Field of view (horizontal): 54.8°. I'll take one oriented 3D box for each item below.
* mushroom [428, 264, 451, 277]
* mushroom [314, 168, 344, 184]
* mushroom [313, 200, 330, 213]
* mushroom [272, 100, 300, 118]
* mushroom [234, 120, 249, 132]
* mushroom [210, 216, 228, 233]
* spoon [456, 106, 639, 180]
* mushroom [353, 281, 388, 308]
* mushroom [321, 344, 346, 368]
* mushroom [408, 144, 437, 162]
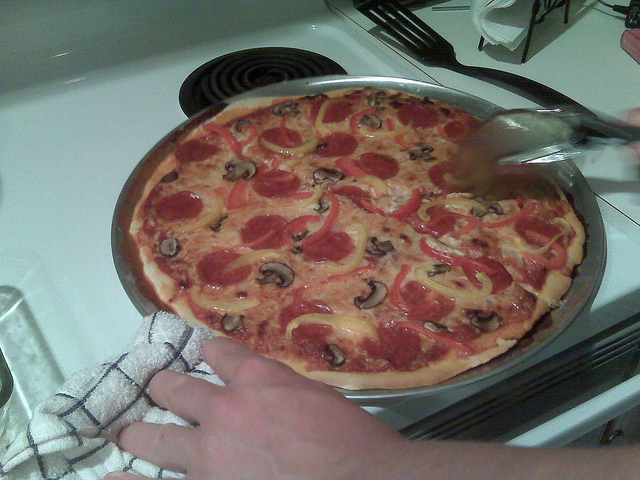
[{"bbox_3d":[0.270,0.066,1.383,0.042,0.012,0.026,-2,39,5],"label":"mushroom"},{"bbox_3d":[0.019,-0.166,1.585,0.063,0.013,0.040,-10,42,-5],"label":"mushroom"},{"bbox_3d":[0.005,-0.082,1.505,0.031,0.007,0.023,-5,67,20],"label":"mushroom"},{"bbox_3d":[-0.094,-0.367,1.751,0.067,0.015,0.055,-5,39,12],"label":"mushroom"},{"bbox_3d":[-0.217,-0.316,1.696,0.036,0.009,0.031,-28,77,-23],"label":"mushroom"},{"bbox_3d":[-0.244,-0.038,1.508,0.023,0.013,0.039,20,61,46],"label":"mushroom"},{"bbox_3d":[0.482,-0.194,1.366,0.343,0.243,0.147,-2,59,3],"label":"spoon"},{"bbox_3d":[0.110,0.119,1.344,0.051,0.013,0.065,35,66,25],"label":"mushroom"},{"bbox_3d":[0.029,0.234,1.259,0.041,0.013,0.059,-33,58,-20],"label":"mushroom"},{"bbox_3d":[0.280,-0.230,1.657,0.055,0.015,0.052,31,64,19],"label":"mushroom"}]
